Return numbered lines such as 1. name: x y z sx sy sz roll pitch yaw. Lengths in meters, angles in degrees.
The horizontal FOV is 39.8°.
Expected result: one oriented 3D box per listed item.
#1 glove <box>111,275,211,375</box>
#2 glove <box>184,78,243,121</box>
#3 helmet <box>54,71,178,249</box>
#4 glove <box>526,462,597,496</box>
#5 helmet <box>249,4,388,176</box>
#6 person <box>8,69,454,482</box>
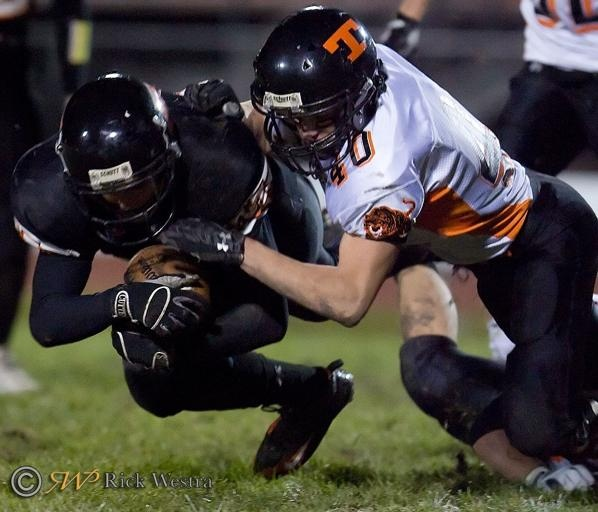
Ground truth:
1. glove: -0.453 0.277 2.729 0.323 0.443 0.221 -7 41 -9
2. glove: -0.298 -0.542 2.888 0.168 0.081 0.131 21 21 18
3. helmet: -0.576 -0.356 2.711 0.380 0.421 0.529 -10 45 1
4. glove: 0.889 0.756 2.803 0.160 0.067 0.099 -1 3 4
5. helmet: 0.083 -0.516 2.721 0.438 0.491 0.388 25 46 25
6. person: -0.345 0.139 3.064 0.821 1.670 1.039 -5 30 36
